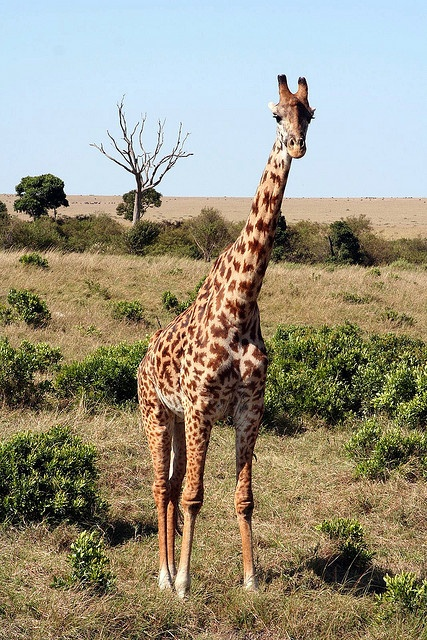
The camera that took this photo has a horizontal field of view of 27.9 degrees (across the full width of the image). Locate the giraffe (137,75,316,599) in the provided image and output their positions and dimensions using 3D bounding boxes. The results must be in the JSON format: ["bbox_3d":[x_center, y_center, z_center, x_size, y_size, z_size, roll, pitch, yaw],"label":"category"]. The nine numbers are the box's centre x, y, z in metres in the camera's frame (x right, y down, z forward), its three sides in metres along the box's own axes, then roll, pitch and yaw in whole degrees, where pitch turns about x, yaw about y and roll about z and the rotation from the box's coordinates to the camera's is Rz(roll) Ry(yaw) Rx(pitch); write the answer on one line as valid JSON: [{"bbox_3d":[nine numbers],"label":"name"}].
[{"bbox_3d":[0.004,0.155,6.063,0.675,3.659,1.392,-5,12,-44],"label":"giraffe"}]
